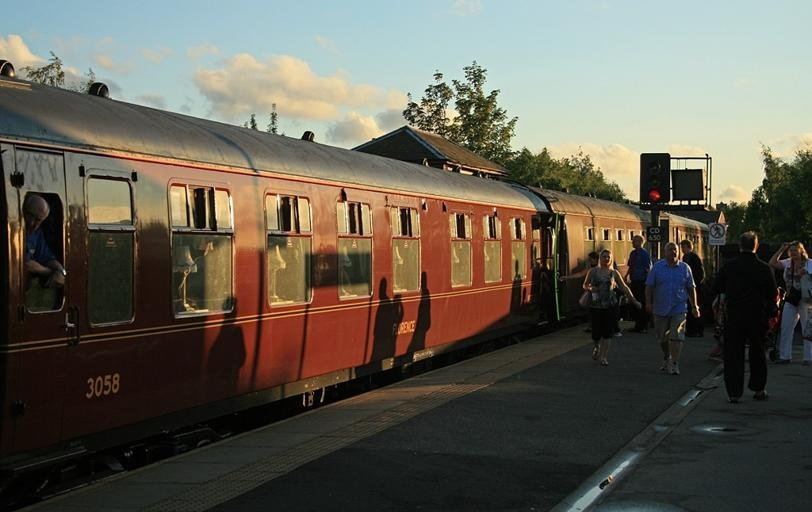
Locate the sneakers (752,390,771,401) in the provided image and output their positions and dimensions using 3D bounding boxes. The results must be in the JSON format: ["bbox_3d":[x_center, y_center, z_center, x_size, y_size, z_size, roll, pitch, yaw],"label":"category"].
[{"bbox_3d":[5.432,2.121,11.225,0.308,0.137,0.102,-12,10,-39],"label":"sneakers"}]

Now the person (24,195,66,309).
[{"bbox_3d":[-3.637,-0.059,7.426,0.377,1.192,0.191,-2,2,-32],"label":"person"}]

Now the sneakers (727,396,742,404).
[{"bbox_3d":[4.956,2.154,11.076,0.165,0.078,0.093,-3,1,36],"label":"sneakers"}]

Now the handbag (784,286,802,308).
[{"bbox_3d":[7.301,0.749,13.833,0.259,0.392,0.225,18,31,17],"label":"handbag"}]
